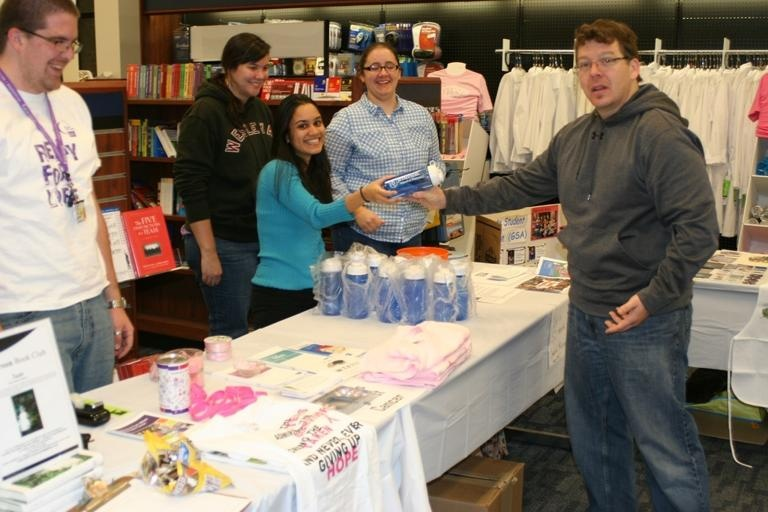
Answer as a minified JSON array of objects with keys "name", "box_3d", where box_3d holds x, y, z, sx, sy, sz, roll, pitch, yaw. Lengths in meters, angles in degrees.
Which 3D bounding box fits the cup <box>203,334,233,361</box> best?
[{"name":"cup","box_3d":[-0.690,0.379,2.369,0.103,0.068,0.101,2,8,0]}]

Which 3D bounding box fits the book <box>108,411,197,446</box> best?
[{"name":"book","box_3d":[-0.745,0.555,1.853,0.258,0.037,0.136,3,12,18]}]

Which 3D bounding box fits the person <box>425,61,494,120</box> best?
[{"name":"person","box_3d":[0.801,-1.838,6.356,0.798,0.673,0.360,5,20,12]}]

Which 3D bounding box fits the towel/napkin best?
[{"name":"towel/napkin","box_3d":[0.127,0.392,2.315,0.316,0.157,0.427,6,13,31]}]

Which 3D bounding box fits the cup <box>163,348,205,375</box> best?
[{"name":"cup","box_3d":[-0.732,0.379,2.095,0.120,0.085,0.120,1,-1,0]}]

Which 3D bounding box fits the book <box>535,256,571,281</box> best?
[{"name":"book","box_3d":[1.046,0.081,3.514,0.193,0.014,0.129,9,43,3]}]

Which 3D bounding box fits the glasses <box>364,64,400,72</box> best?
[{"name":"glasses","box_3d":[-0.014,-1.163,3.498,0.225,0.047,0.088,-3,12,-8]}]

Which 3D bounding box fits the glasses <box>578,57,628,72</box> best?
[{"name":"glasses","box_3d":[0.955,-0.848,2.507,0.202,0.057,0.110,4,13,26]}]

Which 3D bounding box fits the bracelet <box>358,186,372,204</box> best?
[{"name":"bracelet","box_3d":[-0.098,-0.315,2.903,0.047,0.080,0.107,-1,12,3]}]

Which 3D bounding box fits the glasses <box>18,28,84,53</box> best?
[{"name":"glasses","box_3d":[-1.211,-0.788,2.064,0.051,0.059,0.158,10,16,44]}]
